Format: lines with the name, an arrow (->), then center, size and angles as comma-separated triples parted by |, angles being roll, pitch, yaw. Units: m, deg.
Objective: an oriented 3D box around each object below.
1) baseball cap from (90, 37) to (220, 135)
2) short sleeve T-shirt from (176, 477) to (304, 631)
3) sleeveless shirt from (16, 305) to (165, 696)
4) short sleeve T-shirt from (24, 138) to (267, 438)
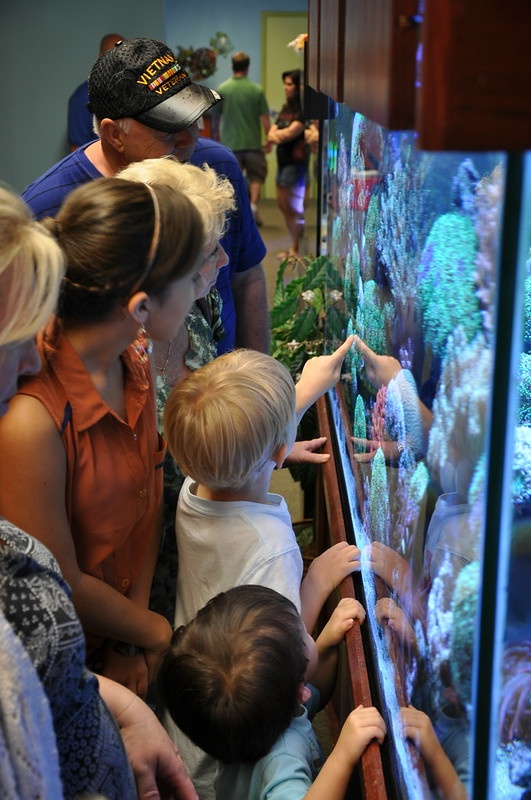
baseball cap -> -0.294, -0.778, 1.599 | 0.338, 0.190, 0.234 | 7, 49, 29
short sleeve T-shirt -> -0.057, 0.302, 1.161 | 0.142, 0.275, 0.249 | -15, 26, -32
sleeveless shirt -> -0.335, 0.215, 1.253 | 0.214, 1.029, 0.309 | 18, 31, 19
short sleeve T-shirt -> -0.309, -0.357, 1.585 | 0.279, 0.549, 0.389 | -6, 27, 15
